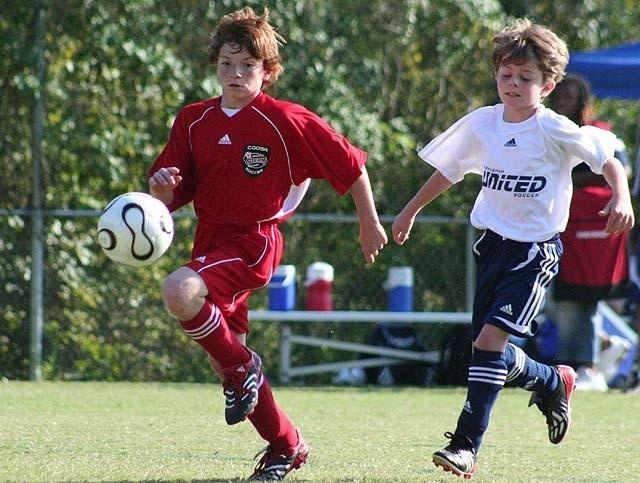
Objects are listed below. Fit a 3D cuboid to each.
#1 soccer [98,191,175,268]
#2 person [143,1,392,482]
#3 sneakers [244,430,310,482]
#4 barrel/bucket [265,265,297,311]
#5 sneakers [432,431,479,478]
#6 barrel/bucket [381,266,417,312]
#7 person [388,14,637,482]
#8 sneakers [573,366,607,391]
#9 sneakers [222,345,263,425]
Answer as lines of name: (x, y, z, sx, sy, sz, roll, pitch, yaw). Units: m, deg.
soccer: (-1.101, -0.065, 6.345, 0.412, 0.421, 0.436, -1, 15, 6)
person: (-0.363, -0.186, 6.358, 1.193, 2.339, 0.637, 1, 3, -12)
sneakers: (-0.222, 1.239, 6.324, 0.406, 0.205, 0.142, -33, 19, -32)
barrel/bucket: (-0.319, 0.410, 9.728, 0.301, 0.545, 0.348, 2, -8, -11)
sneakers: (0.764, 1.203, 6.194, 0.214, 0.246, 0.249, 2, 3, 17)
barrel/bucket: (0.696, 0.424, 9.848, 0.313, 0.569, 0.321, -2, 1, 0)
person: (1.132, 0.018, 6.438, 1.269, 2.568, 0.752, 2, 3, 8)
sneakers: (2.356, 1.199, 9.579, 0.227, 0.122, 0.296, -1, -8, 33)
sneakers: (-0.428, 0.816, 6.206, 0.216, 0.438, 0.285, 1, 3, 0)
